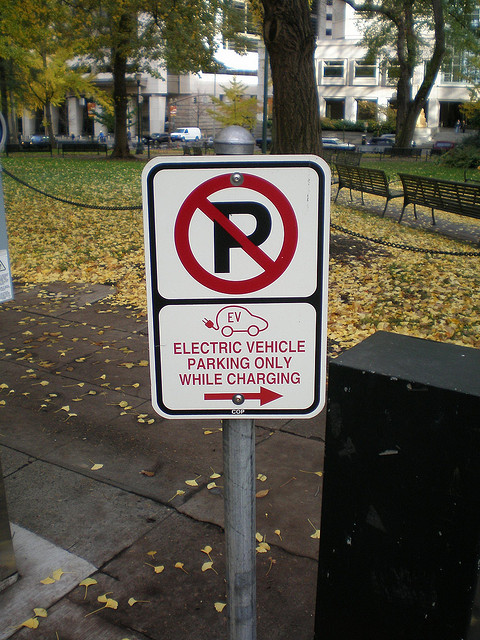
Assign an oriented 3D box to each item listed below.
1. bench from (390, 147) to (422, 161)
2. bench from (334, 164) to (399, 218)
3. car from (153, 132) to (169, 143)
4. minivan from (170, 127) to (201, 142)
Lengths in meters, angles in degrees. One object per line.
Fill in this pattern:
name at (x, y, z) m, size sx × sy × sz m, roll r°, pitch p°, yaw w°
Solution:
bench at (10.310, -10.389, 37.685) m, size 0.936 × 0.666 × 3.021 m, roll 11°, pitch 15°, yaw 43°
bench at (2.864, -3.171, 14.303) m, size 0.558 × 0.779 × 1.597 m, roll 0°, pitch 18°, yaw -34°
car at (-7.580, -17.237, 57.413) m, size 1.304 × 1.115 × 3.943 m, roll -1°, pitch 11°, yaw -8°
minivan at (-5.066, -17.518, 57.110) m, size 2.546 × 1.193 × 1.576 m, roll -9°, pitch 20°, yaw -32°
